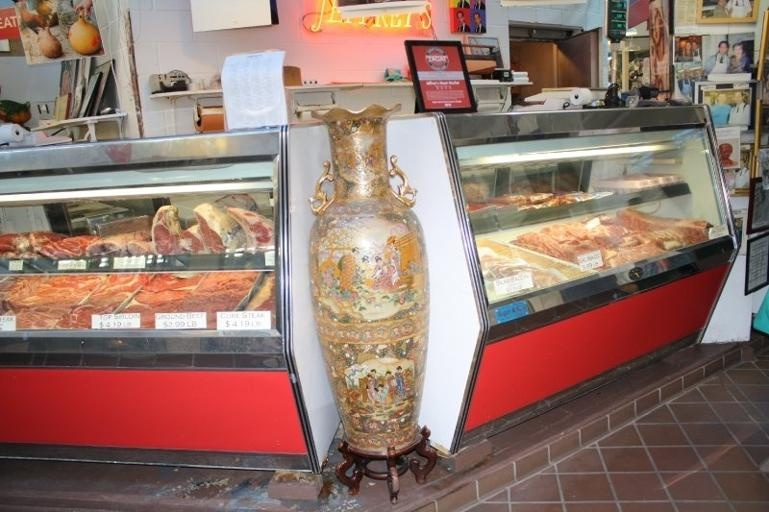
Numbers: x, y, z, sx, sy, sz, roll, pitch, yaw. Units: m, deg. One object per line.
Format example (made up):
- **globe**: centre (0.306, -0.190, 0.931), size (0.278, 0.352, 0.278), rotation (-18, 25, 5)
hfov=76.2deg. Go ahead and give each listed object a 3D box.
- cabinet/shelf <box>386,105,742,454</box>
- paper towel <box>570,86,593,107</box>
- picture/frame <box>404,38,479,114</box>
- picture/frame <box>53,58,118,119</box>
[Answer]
- **cabinet/shelf**: centre (1.193, -0.013, 3.254), size (2.501, 1.704, 1.139), rotation (-11, 19, -33)
- **paper towel**: centre (1.264, -1.014, 3.124), size (0.091, 0.104, 0.245), rotation (15, 28, 42)
- **picture/frame**: centre (0.321, -1.028, 2.775), size (0.381, 0.362, 0.265), rotation (-11, 22, -17)
- **picture/frame**: centre (-3.722, -2.055, 5.979), size (0.630, 0.717, 2.516), rotation (-17, 24, -30)
